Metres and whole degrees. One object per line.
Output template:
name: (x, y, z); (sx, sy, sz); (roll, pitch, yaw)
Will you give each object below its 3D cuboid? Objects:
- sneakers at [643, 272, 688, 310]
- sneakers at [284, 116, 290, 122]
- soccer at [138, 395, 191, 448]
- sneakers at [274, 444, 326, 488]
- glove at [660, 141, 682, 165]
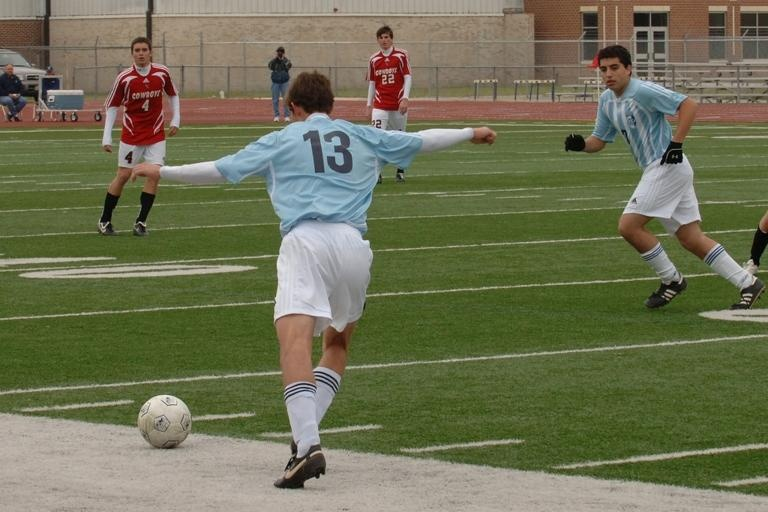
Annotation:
sneakers: (2.873, 0.351, 14.466); (0.558, 0.258, 0.208); (-31, 5, 7)
sneakers: (-2.901, -4.127, 42.398); (0.148, 0.121, 0.344); (-1, 2, -12)
soccer: (-1.650, 1.226, 10.662); (0.530, 0.335, 0.405); (-4, 1, -21)
sneakers: (-0.592, 1.477, 9.892); (0.328, 0.314, 0.217); (-6, 17, -21)
glove: (2.839, -1.023, 13.840); (0.205, 0.249, 0.205); (2, 15, 9)
